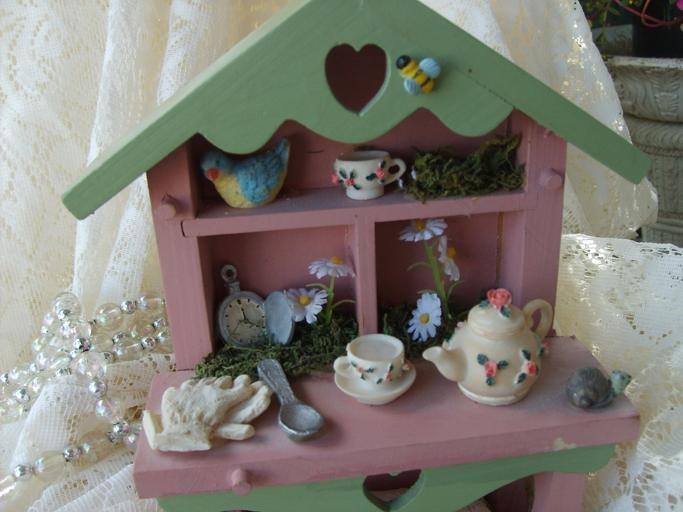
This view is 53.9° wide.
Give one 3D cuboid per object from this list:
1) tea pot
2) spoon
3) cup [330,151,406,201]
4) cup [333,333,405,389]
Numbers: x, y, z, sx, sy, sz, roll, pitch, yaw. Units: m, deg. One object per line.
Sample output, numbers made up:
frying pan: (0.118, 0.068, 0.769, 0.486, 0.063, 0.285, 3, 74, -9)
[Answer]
tea pot: (0.333, 0.184, 1.461, 0.279, 0.235, 0.207, -12, 27, -13)
spoon: (-0.109, 0.311, 1.437, 0.071, 0.043, 0.231, -2, 31, -20)
cup: (0.071, -0.177, 1.521, 0.127, 0.089, 0.118, 2, 24, -1)
cup: (0.063, 0.239, 1.479, 0.155, 0.087, 0.138, -6, 17, -7)
